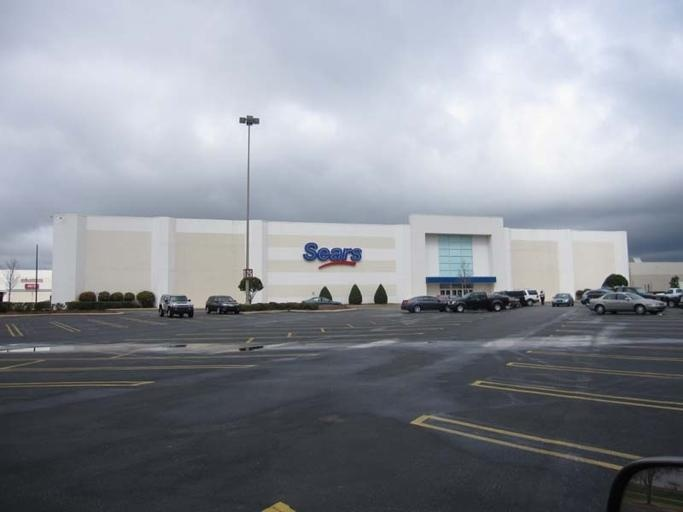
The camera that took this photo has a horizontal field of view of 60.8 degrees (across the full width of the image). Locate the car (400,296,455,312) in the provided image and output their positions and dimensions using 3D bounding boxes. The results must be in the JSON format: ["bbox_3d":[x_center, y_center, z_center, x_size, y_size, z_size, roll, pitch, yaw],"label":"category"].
[{"bbox_3d":[6.244,3.546,42.994,2.700,0.933,1.541,-4,0,-10],"label":"car"}]

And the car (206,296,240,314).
[{"bbox_3d":[-8.885,3.591,43.858,1.310,1.164,2.692,3,-10,-30],"label":"car"}]

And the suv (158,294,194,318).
[{"bbox_3d":[-11.288,3.447,40.087,1.641,1.397,2.650,3,-11,-27],"label":"suv"}]

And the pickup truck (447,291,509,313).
[{"bbox_3d":[10.155,3.378,42.461,3.866,1.432,1.820,2,-5,-16],"label":"pickup truck"}]

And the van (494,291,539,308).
[{"bbox_3d":[15.395,3.768,51.007,2.824,1.131,1.576,4,-7,-29],"label":"van"}]

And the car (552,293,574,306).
[{"bbox_3d":[19.637,3.872,51.693,1.190,1.012,2.303,-1,-1,34],"label":"car"}]
